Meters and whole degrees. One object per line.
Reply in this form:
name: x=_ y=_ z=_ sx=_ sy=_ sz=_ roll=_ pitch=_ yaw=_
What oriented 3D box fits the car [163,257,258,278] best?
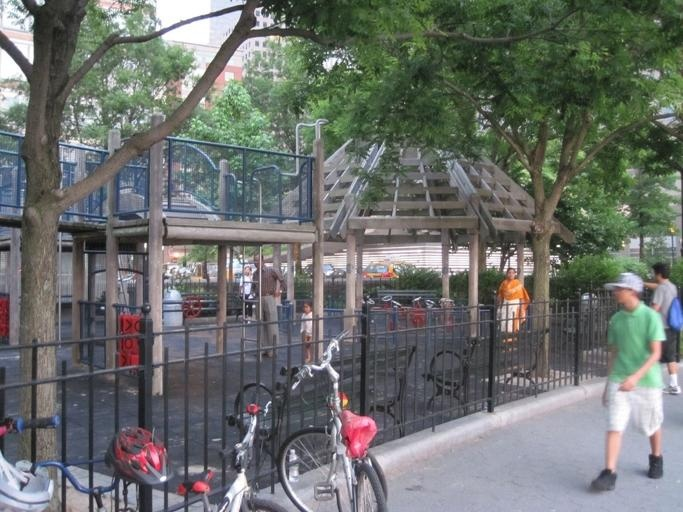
car: x=-6.900 y=0.645 z=42.387 sx=5.141 sy=1.507 sz=0.939 roll=-4 pitch=-9 yaw=21

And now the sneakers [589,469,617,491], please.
sneakers: x=3.143 y=2.699 z=9.850 sx=0.325 sy=0.231 sz=0.193 roll=9 pitch=-9 yaw=-36

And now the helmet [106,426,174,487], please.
helmet: x=-1.833 y=1.826 z=7.440 sx=0.575 sy=0.301 sz=0.416 roll=32 pitch=17 yaw=37

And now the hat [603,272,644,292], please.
hat: x=3.505 y=0.326 z=10.067 sx=0.378 sy=0.246 sz=0.535 roll=0 pitch=-3 yaw=15

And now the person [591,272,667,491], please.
person: x=3.594 y=1.526 z=10.136 sx=0.775 sy=2.626 sz=1.019 roll=0 pitch=-2 yaw=22
